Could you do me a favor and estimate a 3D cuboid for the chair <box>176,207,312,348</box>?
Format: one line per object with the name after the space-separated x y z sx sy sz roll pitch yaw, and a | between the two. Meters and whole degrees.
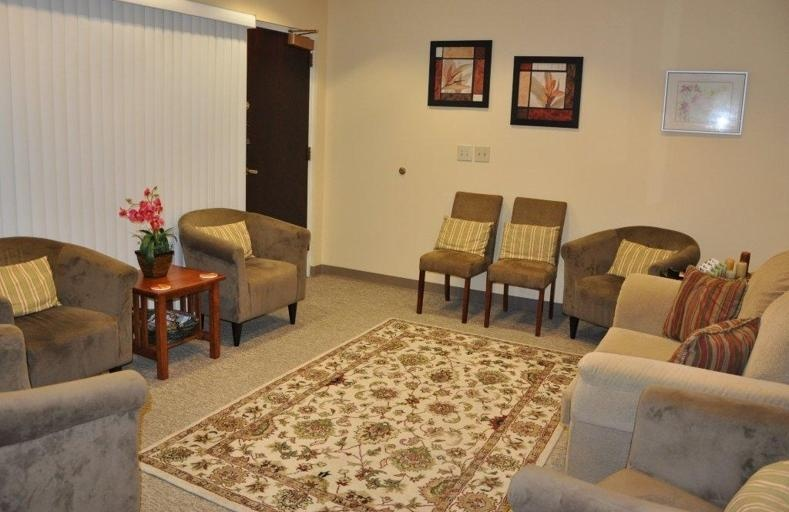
-1.246 0.081 5.327 1.136 1.229 1.229 8 13 34 | chair

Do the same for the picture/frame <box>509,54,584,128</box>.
1.489 -1.603 5.619 0.698 0.700 0.047 7 9 19 | picture/frame

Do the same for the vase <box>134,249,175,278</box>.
-1.862 0.056 4.552 0.221 0.192 0.260 0 3 40 | vase

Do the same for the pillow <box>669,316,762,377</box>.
1.648 0.459 3.022 0.343 0.302 0.114 -7 20 -29 | pillow

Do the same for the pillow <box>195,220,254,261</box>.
-1.448 -0.137 5.121 0.110 0.348 0.372 -16 -1 26 | pillow

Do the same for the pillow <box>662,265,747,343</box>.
1.939 0.295 3.672 0.185 0.450 0.448 31 -11 -27 | pillow

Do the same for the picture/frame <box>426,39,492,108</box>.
0.683 -1.867 5.907 0.699 0.696 0.026 5 7 18 | picture/frame

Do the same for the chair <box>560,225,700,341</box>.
2.095 0.252 5.130 0.973 0.935 0.982 -6 17 -34 | chair
